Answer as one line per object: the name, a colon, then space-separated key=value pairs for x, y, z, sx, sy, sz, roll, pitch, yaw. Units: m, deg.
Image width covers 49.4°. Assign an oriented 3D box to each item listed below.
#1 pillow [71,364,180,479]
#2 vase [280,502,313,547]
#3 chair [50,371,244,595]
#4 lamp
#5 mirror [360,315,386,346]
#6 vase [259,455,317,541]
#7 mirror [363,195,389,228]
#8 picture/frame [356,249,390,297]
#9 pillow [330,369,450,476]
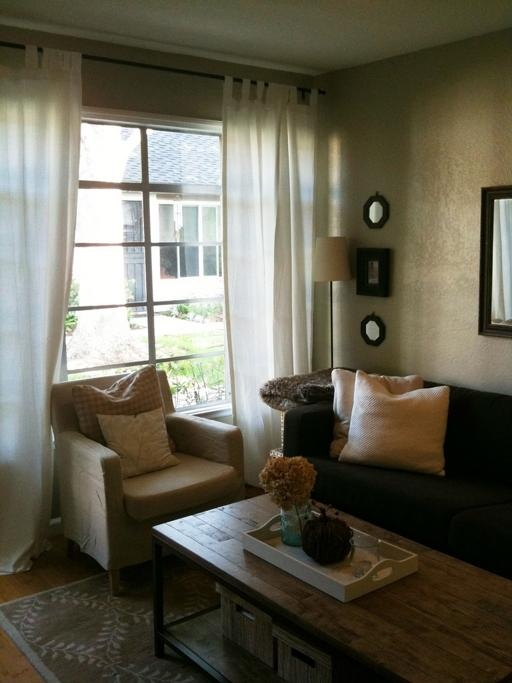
pillow: x=-0.661 y=0.428 z=2.786 sx=0.140 sy=0.459 sz=0.489 roll=-35 pitch=-15 yaw=37
vase: x=0.119 y=0.569 z=1.723 sx=0.124 sy=0.137 sz=0.123 roll=0 pitch=-2 yaw=8
chair: x=-0.596 y=0.570 z=2.872 sx=1.034 sy=1.098 sz=0.886 roll=-7 pitch=8 yaw=-43
lamp: x=0.517 y=-0.266 z=3.746 sx=0.242 sy=0.900 sz=0.457 roll=-1 pitch=2 yaw=9
mirror: x=0.763 y=-0.077 z=3.600 sx=0.024 sy=0.151 sz=0.168 roll=-9 pitch=19 yaw=-26
vase: x=0.131 y=0.487 z=1.701 sx=0.197 sy=0.256 sz=0.191 roll=2 pitch=-15 yaw=-12
mirror: x=0.758 y=-0.820 z=3.507 sx=0.047 sy=0.225 sz=0.212 roll=-2 pitch=2 yaw=-26
picture/frame: x=0.753 y=-0.442 z=3.533 sx=0.033 sy=0.272 sz=0.303 roll=-11 pitch=12 yaw=-29
pillow: x=0.691 y=0.352 z=2.753 sx=0.690 sy=0.576 sz=0.365 roll=4 pitch=-5 yaw=21
